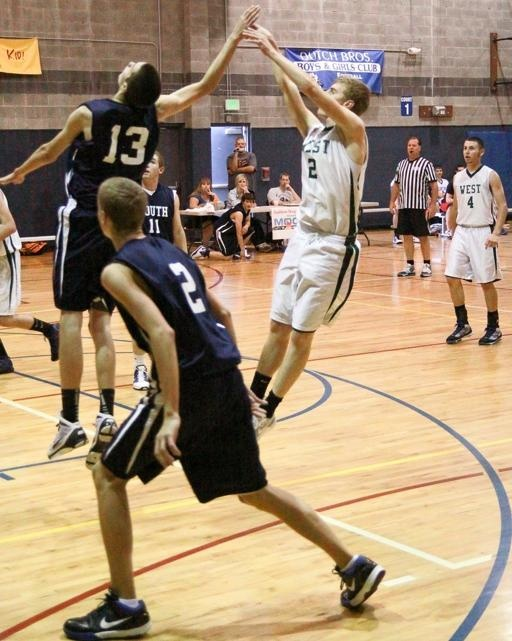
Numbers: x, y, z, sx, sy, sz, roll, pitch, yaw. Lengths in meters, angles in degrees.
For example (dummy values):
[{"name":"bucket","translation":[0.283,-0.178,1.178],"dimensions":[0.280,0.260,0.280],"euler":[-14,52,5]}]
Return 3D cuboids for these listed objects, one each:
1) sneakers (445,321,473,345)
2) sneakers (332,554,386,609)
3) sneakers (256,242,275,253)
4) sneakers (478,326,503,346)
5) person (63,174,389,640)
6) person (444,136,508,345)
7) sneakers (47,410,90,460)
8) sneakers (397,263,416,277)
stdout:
[{"name":"sneakers","translation":[2.202,0.145,5.988],"dimensions":[0.146,0.177,0.452],"euler":[-2,7,42]},{"name":"sneakers","translation":[0.289,0.740,1.562],"dimensions":[0.135,0.182,0.072],"euler":[32,43,9]},{"name":"sneakers","translation":[0.221,-1.826,13.974],"dimensions":[0.524,0.211,0.178],"euler":[-4,14,-5]},{"name":"sneakers","translation":[2.470,0.174,5.860],"dimensions":[0.124,0.132,0.340],"euler":[-1,3,36]},{"name":"person","translation":[-0.124,0.218,1.443],"dimensions":[0.639,1.133,0.369],"euler":[-2,0,-39]},{"name":"person","translation":[2.409,-0.905,6.101],"dimensions":[0.623,2.181,0.634],"euler":[-1,0,21]},{"name":"sneakers","translation":[-0.965,0.579,2.775],"dimensions":[0.285,0.177,0.104],"euler":[-30,-24,28]},{"name":"sneakers","translation":[2.926,-0.923,10.551],"dimensions":[0.183,0.237,0.567],"euler":[0,3,43]}]
